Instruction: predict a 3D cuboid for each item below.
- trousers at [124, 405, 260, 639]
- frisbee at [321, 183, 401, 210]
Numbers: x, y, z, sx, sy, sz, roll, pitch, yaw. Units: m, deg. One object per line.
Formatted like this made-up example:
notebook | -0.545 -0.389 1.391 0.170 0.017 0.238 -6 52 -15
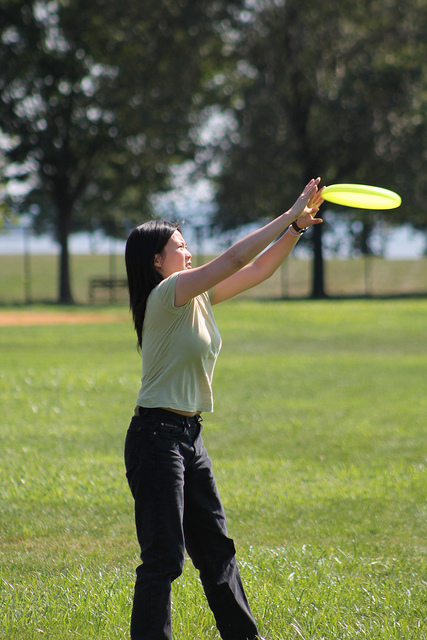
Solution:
trousers | -0.106 1.029 5.423 0.646 1.187 0.480 -2 12 -6
frisbee | 0.808 -0.670 5.964 0.411 0.159 0.409 1 11 9
